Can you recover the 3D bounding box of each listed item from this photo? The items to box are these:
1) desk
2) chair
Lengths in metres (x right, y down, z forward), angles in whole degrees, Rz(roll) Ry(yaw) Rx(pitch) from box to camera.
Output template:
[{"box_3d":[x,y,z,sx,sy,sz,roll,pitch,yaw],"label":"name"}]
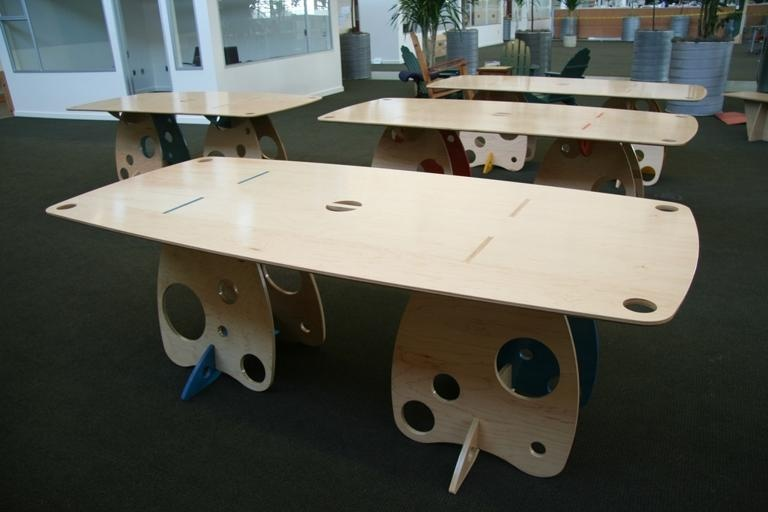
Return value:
[{"box_3d":[-0.493,-0.209,3.645,4.404,1.244,2.822,12,28,29],"label":"desk"},{"box_3d":[0.709,-2.197,6.686,0.709,0.908,0.679,-3,27,18],"label":"chair"}]
